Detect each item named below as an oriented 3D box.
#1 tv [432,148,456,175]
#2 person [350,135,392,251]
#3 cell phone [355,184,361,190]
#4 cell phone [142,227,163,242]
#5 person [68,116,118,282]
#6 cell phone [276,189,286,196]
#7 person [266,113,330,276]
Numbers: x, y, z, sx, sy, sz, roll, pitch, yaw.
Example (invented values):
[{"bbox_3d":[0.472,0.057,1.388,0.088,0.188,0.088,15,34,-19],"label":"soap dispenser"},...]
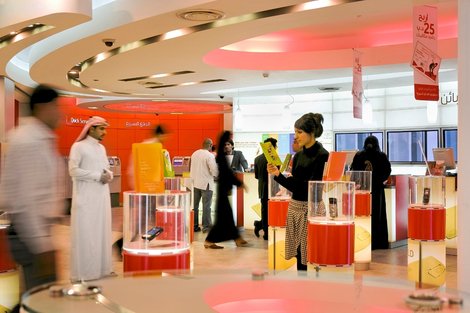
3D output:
[{"bbox_3d":[4.103,0.103,7.814,0.189,0.459,0.485,-18,15,-32],"label":"tv"},{"bbox_3d":[2.513,0.690,7.172,0.828,2.131,0.365,-3,7,-18],"label":"person"},{"bbox_3d":[1.787,0.447,5.815,0.103,0.078,0.044,-5,8,-32],"label":"cell phone"},{"bbox_3d":[-0.615,0.573,3.025,0.151,0.043,0.099,-35,34,-32],"label":"cell phone"},{"bbox_3d":[-1.800,0.544,4.920,0.564,2.048,0.593,-3,7,-18],"label":"person"},{"bbox_3d":[0.621,0.479,5.302,0.089,0.115,0.045,44,-2,7],"label":"cell phone"},{"bbox_3d":[0.713,0.364,4.120,0.533,1.611,0.442,-5,8,-25],"label":"person"}]
